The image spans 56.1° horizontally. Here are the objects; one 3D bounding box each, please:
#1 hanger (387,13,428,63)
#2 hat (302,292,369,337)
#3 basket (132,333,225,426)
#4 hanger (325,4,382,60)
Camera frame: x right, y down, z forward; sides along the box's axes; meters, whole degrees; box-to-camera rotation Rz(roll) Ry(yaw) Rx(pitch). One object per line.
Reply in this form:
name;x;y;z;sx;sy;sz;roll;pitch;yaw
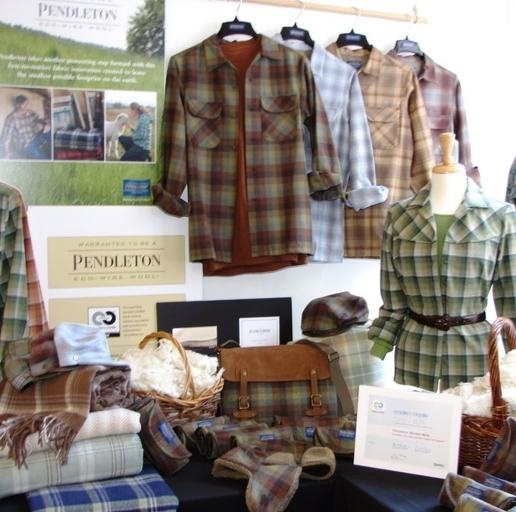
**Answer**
hanger;0.648;-0.973;2.133;0.180;0.162;0.116;-2;25;-11
hat;0.302;0.233;1.869;0.223;0.157;0.153;-3;7;-19
basket;-0.282;0.384;1.584;0.239;0.244;0.318;0;-2;-44
hanger;0.404;-0.973;2.095;0.393;0.204;0.042;-2;4;-29
